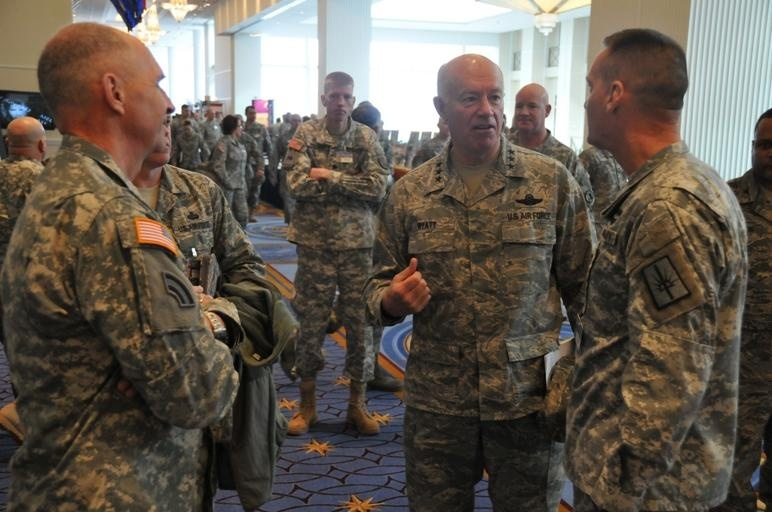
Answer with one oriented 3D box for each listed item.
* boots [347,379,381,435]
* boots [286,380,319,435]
[{"bbox_3d":[-0.131,0.955,4.074,0.145,0.321,0.334,0,7,-40],"label":"boots"},{"bbox_3d":[-0.540,0.953,4.058,0.127,0.291,0.309,1,8,23],"label":"boots"}]
